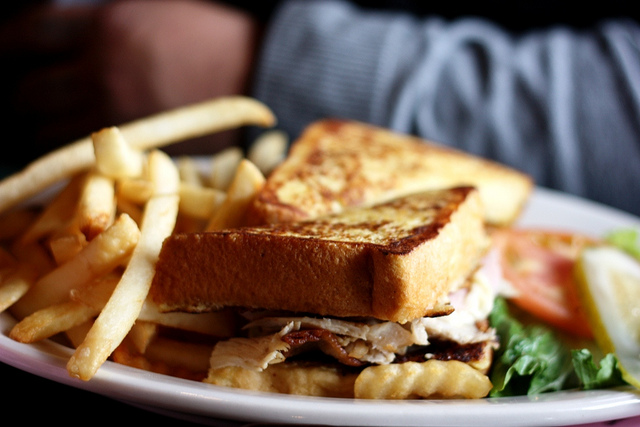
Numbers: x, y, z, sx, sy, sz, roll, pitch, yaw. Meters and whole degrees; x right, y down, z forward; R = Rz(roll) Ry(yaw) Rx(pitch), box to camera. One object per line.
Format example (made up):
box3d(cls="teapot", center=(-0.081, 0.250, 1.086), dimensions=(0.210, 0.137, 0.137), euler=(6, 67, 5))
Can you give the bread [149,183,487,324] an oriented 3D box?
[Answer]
box3d(cls="bread", center=(0.108, 0.181, 2.464), dimensions=(1.496, 0.976, 0.385), euler=(-10, 108, -12))
